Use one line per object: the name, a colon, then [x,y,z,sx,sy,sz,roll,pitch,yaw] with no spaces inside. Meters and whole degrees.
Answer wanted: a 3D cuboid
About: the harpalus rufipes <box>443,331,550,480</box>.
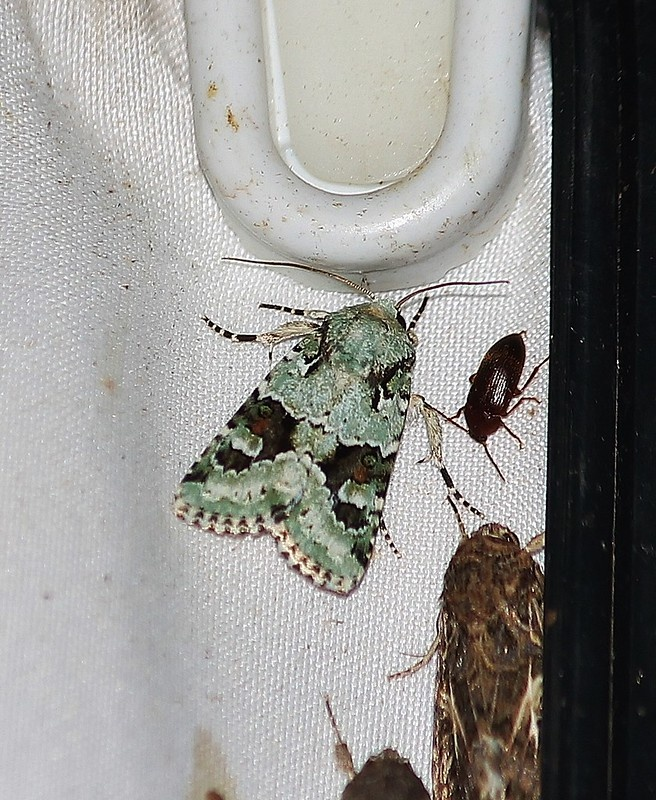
harpalus rufipes: [0.206,0.005,1.104,0.041,0.158,0.123,-2,30,-48]
